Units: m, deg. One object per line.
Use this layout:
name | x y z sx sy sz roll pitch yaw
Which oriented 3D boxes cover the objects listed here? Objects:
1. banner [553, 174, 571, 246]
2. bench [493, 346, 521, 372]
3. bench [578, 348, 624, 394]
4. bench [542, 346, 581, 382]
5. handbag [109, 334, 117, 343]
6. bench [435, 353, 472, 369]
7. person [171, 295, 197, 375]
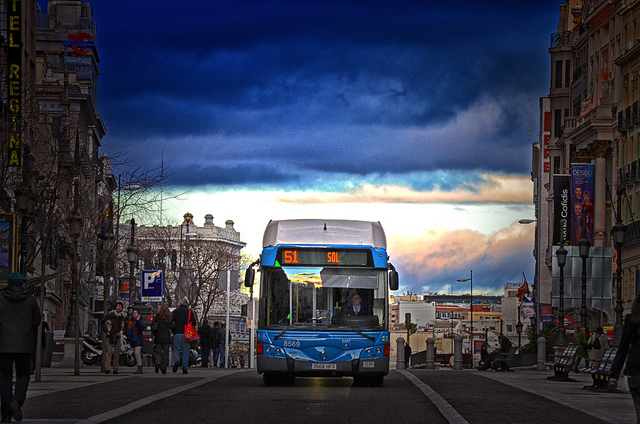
banner | 16.029 -0.168 72.997 1.086 4.627 2.110 -1 -12 10
bench | 8.143 6.270 47.252 1.087 1.309 1.056 2 -9 -6
bench | 9.108 5.082 34.898 1.024 1.293 2.478 27 -3 12
bench | 9.517 5.981 43.299 1.098 1.266 2.405 2 -9 -3
handbag | -7.519 4.639 40.289 0.278 0.322 0.348 3 -12 -8
bench | 10.049 11.041 82.831 2.571 1.459 8.390 0 -12 6
person | -4.994 4.560 40.354 0.928 2.657 1.037 1 -4 -4
